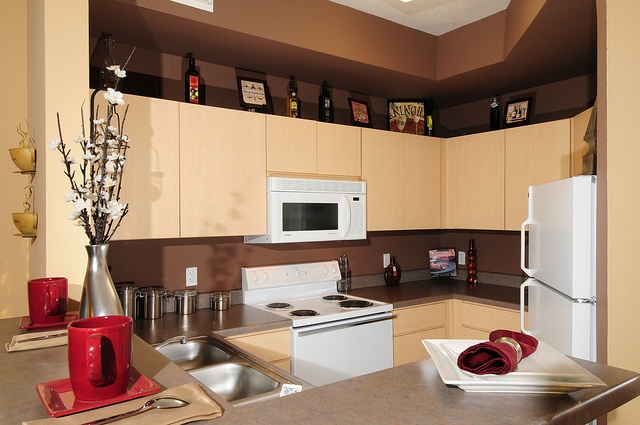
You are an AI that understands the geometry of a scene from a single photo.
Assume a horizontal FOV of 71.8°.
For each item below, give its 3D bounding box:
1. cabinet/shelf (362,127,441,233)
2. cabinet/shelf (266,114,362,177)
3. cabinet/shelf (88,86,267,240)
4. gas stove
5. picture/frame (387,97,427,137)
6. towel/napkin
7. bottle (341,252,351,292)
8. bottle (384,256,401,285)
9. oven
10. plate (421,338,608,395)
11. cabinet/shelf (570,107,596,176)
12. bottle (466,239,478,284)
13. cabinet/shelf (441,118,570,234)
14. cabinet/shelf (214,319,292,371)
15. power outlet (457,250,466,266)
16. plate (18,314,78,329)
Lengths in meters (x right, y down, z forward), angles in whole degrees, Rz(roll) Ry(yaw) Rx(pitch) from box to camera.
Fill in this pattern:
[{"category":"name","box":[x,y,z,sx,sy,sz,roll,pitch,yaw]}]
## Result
[{"category":"cabinet/shelf","box":[0.711,-0.280,3.958,1.010,0.900,0.322,-1,3,-32]},{"category":"cabinet/shelf","box":[-0.068,-0.507,3.482,0.573,0.270,0.166,1,-3,-30]},{"category":"cabinet/shelf","box":[-0.913,-0.298,2.810,1.127,0.896,0.351,2,-6,-32]},{"category":"gas stove","box":[-0.036,0.786,3.510,0.804,0.086,0.909,-3,-4,-27]},{"category":"picture/frame","box":[0.827,-0.905,4.259,0.432,0.400,0.044,5,-15,-14]},{"category":"towel/napkin","box":[0.683,0.507,1.668,0.155,0.082,0.230,-1,-3,41]},{"category":"bottle","box":[0.237,0.540,4.005,0.103,0.311,0.239,1,14,4]},{"category":"bottle","box":[0.687,0.570,4.217,0.118,0.251,0.140,14,19,43]},{"category":"oven","box":[0.169,0.980,3.196,0.717,0.439,0.442,1,-6,-36]},{"category":"plate","box":[0.716,0.583,1.656,0.355,0.039,0.348,-1,3,-8]},{"category":"cabinet/shelf","box":[1.928,-0.519,3.305,0.101,0.510,0.394,6,15,21]},{"category":"bottle","box":[1.496,0.475,4.347,0.104,0.400,0.262,4,14,15]},{"category":"cabinet/shelf","box":[1.547,-0.296,3.675,0.361,0.895,1.092,2,-2,-36]},{"category":"cabinet/shelf","box":[-0.500,0.770,3.071,0.514,0.486,0.336,1,-3,-34]},{"category":"power outlet","box":[1.448,0.474,4.545,0.037,0.147,0.103,-10,18,-37]},{"category":"plate","box":[-1.162,0.469,1.893,0.144,0.018,0.148,0,1,-15]}]
